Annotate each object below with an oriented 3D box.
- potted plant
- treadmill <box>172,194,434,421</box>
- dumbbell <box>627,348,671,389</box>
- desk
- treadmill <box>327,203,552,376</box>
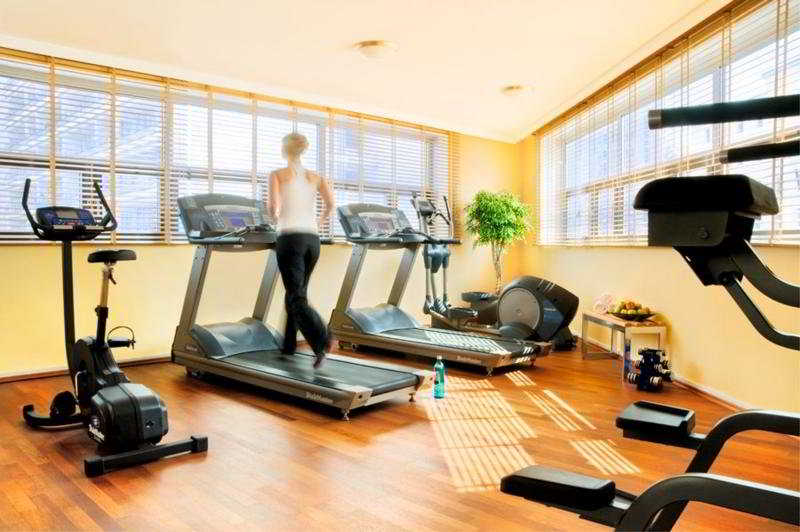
[{"bbox_3d":[1.321,-0.190,7.672,0.787,1.565,0.902,3,7,16],"label":"potted plant"},{"bbox_3d":[-0.928,0.251,4.942,2.366,1.643,1.130,5,5,35],"label":"treadmill"},{"bbox_3d":[2.216,0.881,4.885,0.310,0.319,0.465,7,13,35],"label":"dumbbell"},{"bbox_3d":[2.203,0.762,5.492,0.465,0.508,0.838,0,4,-8],"label":"desk"},{"bbox_3d":[0.403,0.202,6.039,2.283,1.513,1.323,6,4,34],"label":"treadmill"}]
